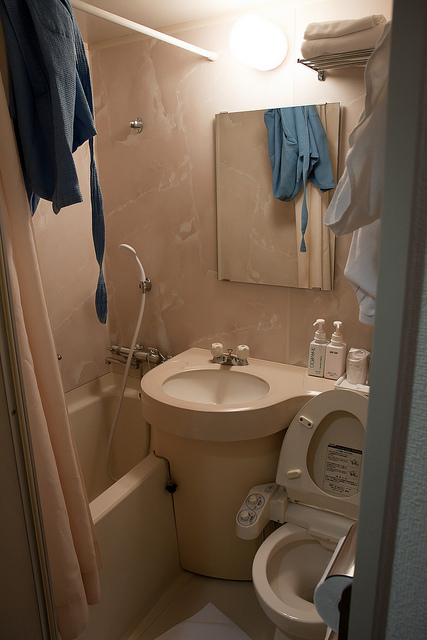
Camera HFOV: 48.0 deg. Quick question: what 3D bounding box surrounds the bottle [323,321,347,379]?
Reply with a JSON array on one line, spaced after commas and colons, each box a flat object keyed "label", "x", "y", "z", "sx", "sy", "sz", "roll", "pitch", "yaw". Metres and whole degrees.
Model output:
[{"label": "bottle", "x": 0.433, "y": 0.104, "z": 1.709, "sx": 0.068, "sy": 0.206, "sz": 0.077, "roll": -1, "pitch": 18, "yaw": -8}]

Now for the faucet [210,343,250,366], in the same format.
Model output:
[{"label": "faucet", "x": 0.070, "y": 0.121, "z": 1.950, "sx": 0.145, "sy": 0.103, "sz": 0.206, "roll": -3, "pitch": 13, "yaw": 8}]

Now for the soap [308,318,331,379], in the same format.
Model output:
[{"label": "soap", "x": 0.381, "y": 0.111, "z": 1.723, "sx": 0.076, "sy": 0.228, "sz": 0.065, "roll": 5, "pitch": 16, "yaw": 25}]

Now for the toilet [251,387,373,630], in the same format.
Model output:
[{"label": "toilet", "x": 0.291, "y": 0.576, "z": 1.422, "sx": 0.314, "sy": 0.690, "sz": 0.498, "roll": 0, "pitch": 12, "yaw": 19}]
